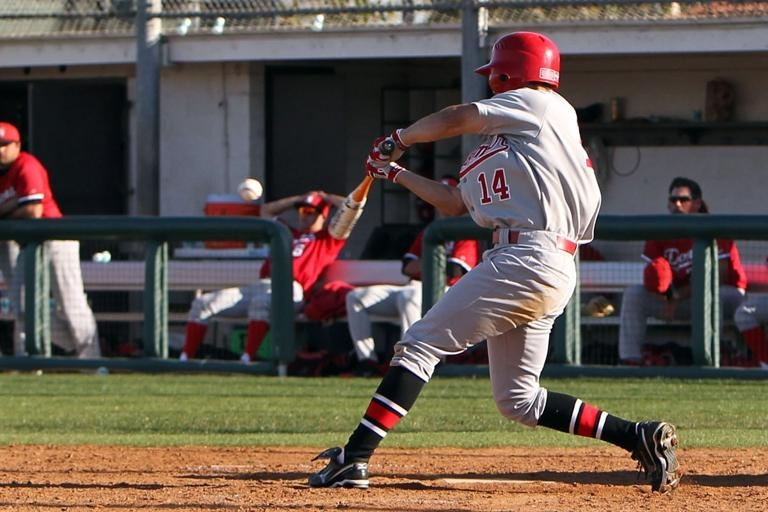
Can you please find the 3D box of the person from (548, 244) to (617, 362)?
[{"bbox_3d":[1.714,0.407,18.279,0.570,0.990,0.421,0,0,1],"label":"person"}]

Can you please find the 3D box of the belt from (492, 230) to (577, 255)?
[{"bbox_3d":[1.170,-0.110,16.035,0.625,0.177,0.152,1,-2,8],"label":"belt"}]
